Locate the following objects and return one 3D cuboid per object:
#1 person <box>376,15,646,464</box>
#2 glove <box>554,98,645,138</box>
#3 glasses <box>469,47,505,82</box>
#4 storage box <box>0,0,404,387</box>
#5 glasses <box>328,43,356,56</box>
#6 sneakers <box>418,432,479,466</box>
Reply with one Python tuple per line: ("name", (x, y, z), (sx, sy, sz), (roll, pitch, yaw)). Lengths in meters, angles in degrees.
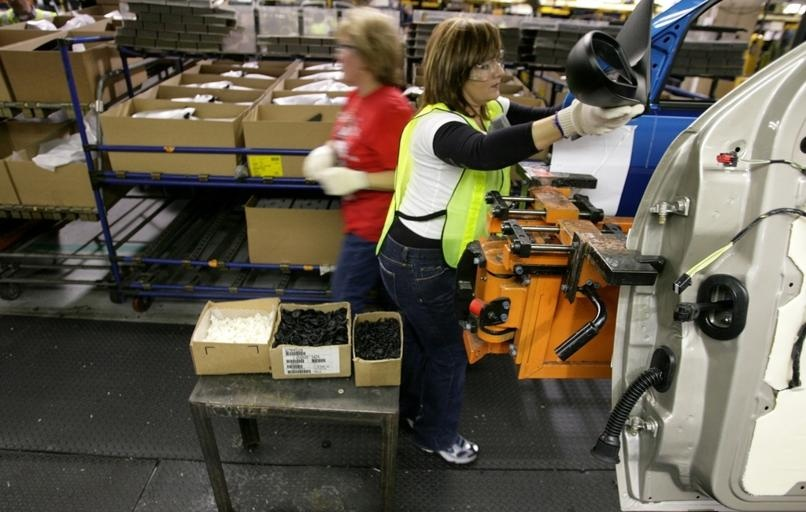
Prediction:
("person", (0.331, 0.066, 3.675), (0.866, 2.752, 0.788), (-12, 34, -21))
("glove", (0.956, -0.650, 2.967), (0.287, 0.100, 0.212), (4, 7, 43))
("glasses", (0.458, -1.028, 3.258), (0.204, 0.087, 0.147), (4, 46, 22))
("storage box", (-1.677, -0.449, 4.745), (3.255, 1.558, 1.731), (-3, 39, -4))
("glasses", (-0.367, -1.260, 3.687), (0.032, 0.081, 0.204), (-21, 37, -32))
("sneakers", (0.298, 1.330, 4.117), (0.411, 0.180, 0.186), (-1, 27, 2))
